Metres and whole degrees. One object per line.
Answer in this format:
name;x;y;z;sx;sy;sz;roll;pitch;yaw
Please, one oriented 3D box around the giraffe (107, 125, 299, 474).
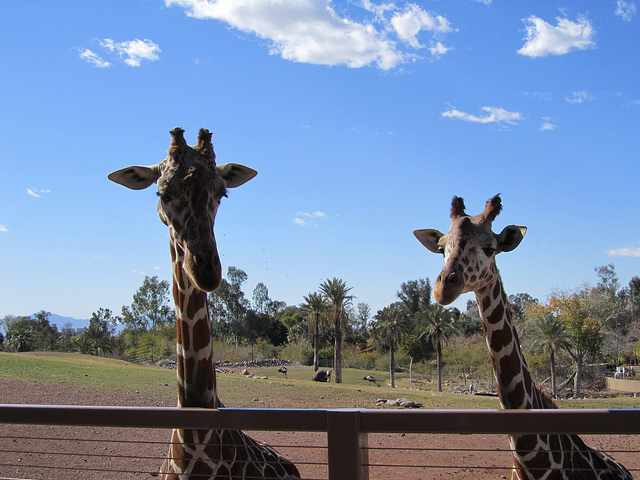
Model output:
giraffe;-1.406;0.750;6.841;2.156;4.266;2.995;5;-8;-10
